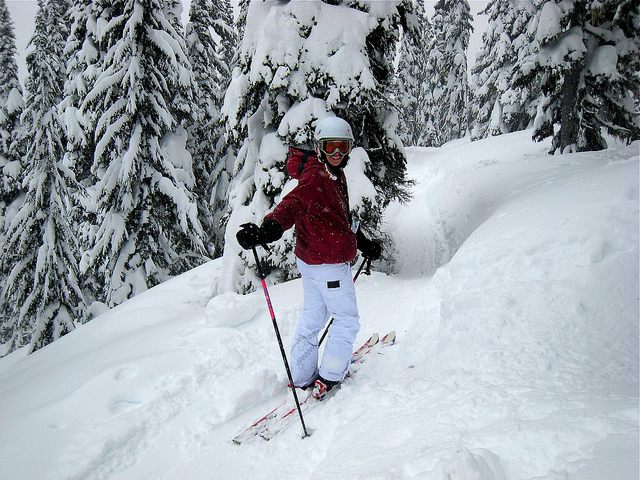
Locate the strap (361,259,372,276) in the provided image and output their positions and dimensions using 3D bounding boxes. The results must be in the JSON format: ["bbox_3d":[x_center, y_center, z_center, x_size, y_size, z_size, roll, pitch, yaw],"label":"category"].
[{"bbox_3d":[0.986,0.544,10.816,0.243,0.291,0.241,-12,25,-33],"label":"strap"}]

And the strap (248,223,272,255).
[{"bbox_3d":[-1.048,0.021,9.573,0.111,0.512,0.360,-25,30,-2],"label":"strap"}]

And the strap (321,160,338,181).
[{"bbox_3d":[0.185,-1.262,9.962,0.313,0.115,0.241,42,-3,14],"label":"strap"}]
